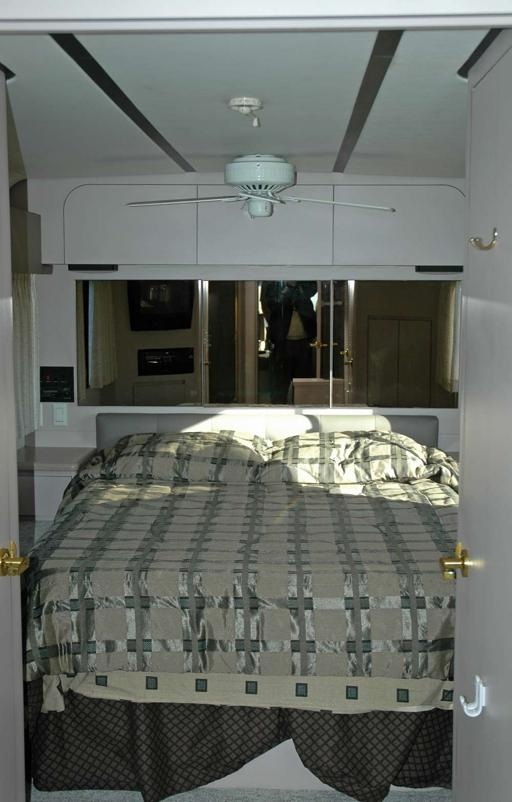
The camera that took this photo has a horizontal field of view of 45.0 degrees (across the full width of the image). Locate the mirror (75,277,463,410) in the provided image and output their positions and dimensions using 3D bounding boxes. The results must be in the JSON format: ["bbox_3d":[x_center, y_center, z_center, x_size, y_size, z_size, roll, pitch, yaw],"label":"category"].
[{"bbox_3d":[0.097,-0.413,4.393,2.594,1.079,0.218,0,27,0],"label":"mirror"}]

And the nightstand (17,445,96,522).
[{"bbox_3d":[-1.389,0.526,4.226,0.344,0.418,0.646,0,7,-4],"label":"nightstand"}]
